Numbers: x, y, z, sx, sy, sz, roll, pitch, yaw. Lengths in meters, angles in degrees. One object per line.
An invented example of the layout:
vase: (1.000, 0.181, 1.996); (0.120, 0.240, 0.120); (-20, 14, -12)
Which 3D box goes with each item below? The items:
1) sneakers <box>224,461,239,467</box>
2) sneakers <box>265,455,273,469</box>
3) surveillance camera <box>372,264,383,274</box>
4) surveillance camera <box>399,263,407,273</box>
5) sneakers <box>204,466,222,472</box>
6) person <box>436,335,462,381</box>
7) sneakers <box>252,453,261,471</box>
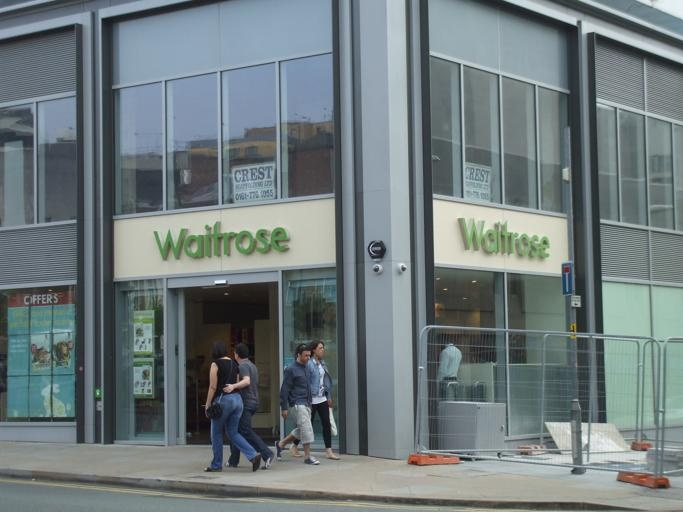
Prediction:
sneakers: (-2.085, 3.887, 17.142); (0.244, 0.126, 0.295); (-2, -9, -2)
sneakers: (-1.361, 3.767, 16.806); (0.126, 0.297, 0.100); (30, 36, 12)
surveillance camera: (0.722, 0.252, 18.694); (0.207, 0.198, 0.106); (-3, -9, 2)
surveillance camera: (1.229, 0.238, 18.715); (0.174, 0.178, 0.136); (1, -2, 32)
sneakers: (-2.351, 3.839, 16.635); (0.293, 0.139, 0.294); (-1, -10, -7)
person: (2.052, 1.962, 17.582); (0.485, 0.834, 0.158); (3, -10, -27)
sneakers: (-1.560, 3.725, 16.573); (0.125, 0.344, 0.135); (0, 9, -39)
